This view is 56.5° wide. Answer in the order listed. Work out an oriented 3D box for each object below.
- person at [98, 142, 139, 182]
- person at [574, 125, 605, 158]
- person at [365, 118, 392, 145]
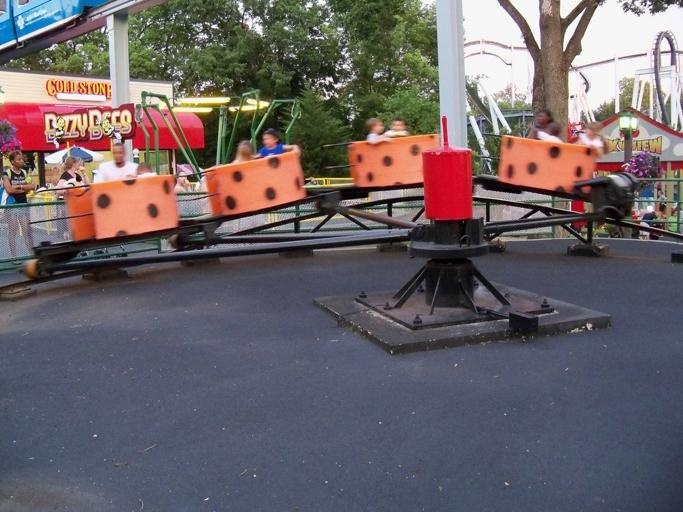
[{"bbox_3d":[-4.121,-1.608,11.547,0.331,0.838,0.884,19,14,31],"label":"person"},{"bbox_3d":[4.749,-2.210,12.102,0.498,0.675,1.504,3,12,20],"label":"person"},{"bbox_3d":[0.782,-2.670,13.479,0.451,0.502,1.172,-1,12,4],"label":"person"}]
